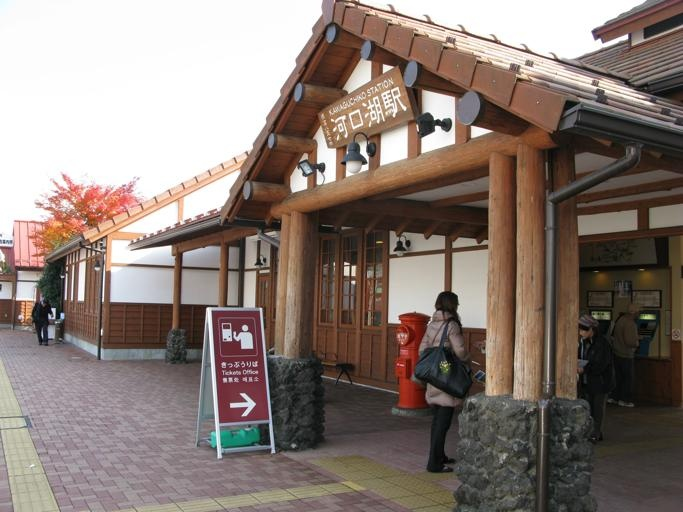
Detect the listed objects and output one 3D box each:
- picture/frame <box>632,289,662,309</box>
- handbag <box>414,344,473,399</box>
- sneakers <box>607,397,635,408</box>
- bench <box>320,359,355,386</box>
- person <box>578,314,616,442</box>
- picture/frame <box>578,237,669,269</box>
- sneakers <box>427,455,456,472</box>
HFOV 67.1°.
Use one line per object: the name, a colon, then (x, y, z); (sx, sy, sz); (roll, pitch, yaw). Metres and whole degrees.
picture/frame: (7.114, 1.001, 12.014); (0.154, 0.456, 0.665); (3, -5, -19)
handbag: (1.178, 1.230, 5.758); (0.337, 0.581, 0.654); (4, 5, -45)
sneakers: (5.323, 2.808, 9.838); (0.439, 0.179, 0.157); (1, -6, -7)
bench: (-0.068, 2.791, 12.389); (0.588, 0.475, 1.047); (3, -5, -19)
person: (3.553, 1.715, 7.200); (0.442, 1.721, 1.045); (-1, -6, 25)
picture/frame: (6.632, -0.039, 12.124); (0.549, 0.648, 2.307); (3, -6, -20)
sneakers: (1.181, 2.434, 5.985); (0.416, 0.157, 0.126); (-1, -3, -23)
